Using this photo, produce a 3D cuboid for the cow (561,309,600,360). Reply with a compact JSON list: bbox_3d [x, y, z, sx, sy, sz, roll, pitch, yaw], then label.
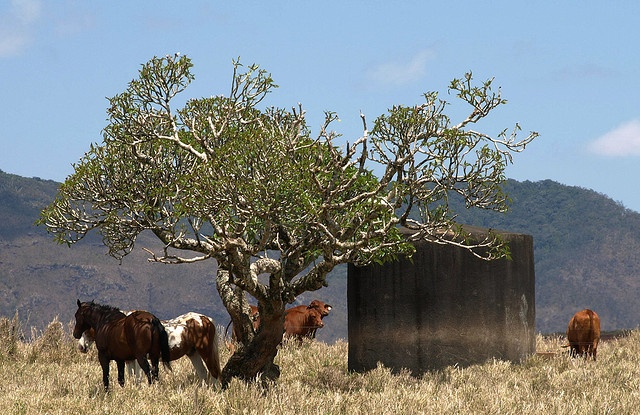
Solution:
[{"bbox_3d":[30.123,14.301,137.115,3.458,5.638,1.463,-1,5,2],"label":"cow"}]
